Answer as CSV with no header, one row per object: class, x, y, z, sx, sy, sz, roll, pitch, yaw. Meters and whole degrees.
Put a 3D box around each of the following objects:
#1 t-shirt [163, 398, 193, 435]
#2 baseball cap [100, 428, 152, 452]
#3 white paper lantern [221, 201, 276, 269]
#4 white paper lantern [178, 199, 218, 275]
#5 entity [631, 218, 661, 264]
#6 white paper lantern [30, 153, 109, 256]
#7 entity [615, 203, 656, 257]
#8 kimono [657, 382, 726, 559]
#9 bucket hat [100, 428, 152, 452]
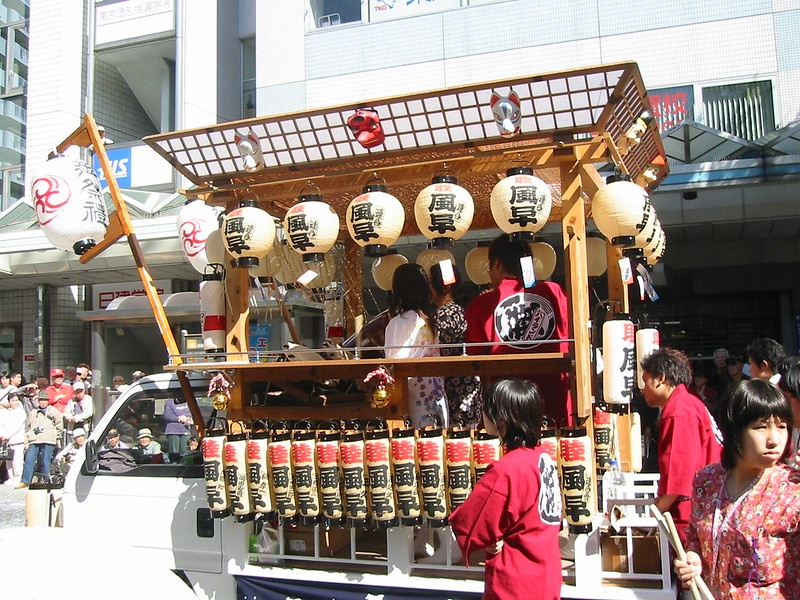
t-shirt,-2.150,1.149,9.816,0.366,0.468,0.266,-1,-20,-13
baseball cap,-2.640,1.337,9.571,0.342,0.381,0.276,-2,-6,-1
white paper lantern,-1.438,-0.611,9.382,0.543,0.655,0.515,6,-15,-39
white paper lantern,-2.125,-0.707,10.698,0.567,0.809,0.410,-13,-11,36
entity,2.313,-0.579,9.258,0.304,0.298,0.376,-5,-28,14
white paper lantern,-3.301,-1.016,9.855,0.639,1.095,0.640,-13,-5,-1
entity,2.253,-0.655,9.182,0.370,0.459,0.337,-1,5,-4
kimono,2.441,1.447,8.366,0.444,1.236,0.532,4,3,25
bucket hat,-2.630,1.348,9.521,0.342,0.381,0.276,-2,-6,-1
